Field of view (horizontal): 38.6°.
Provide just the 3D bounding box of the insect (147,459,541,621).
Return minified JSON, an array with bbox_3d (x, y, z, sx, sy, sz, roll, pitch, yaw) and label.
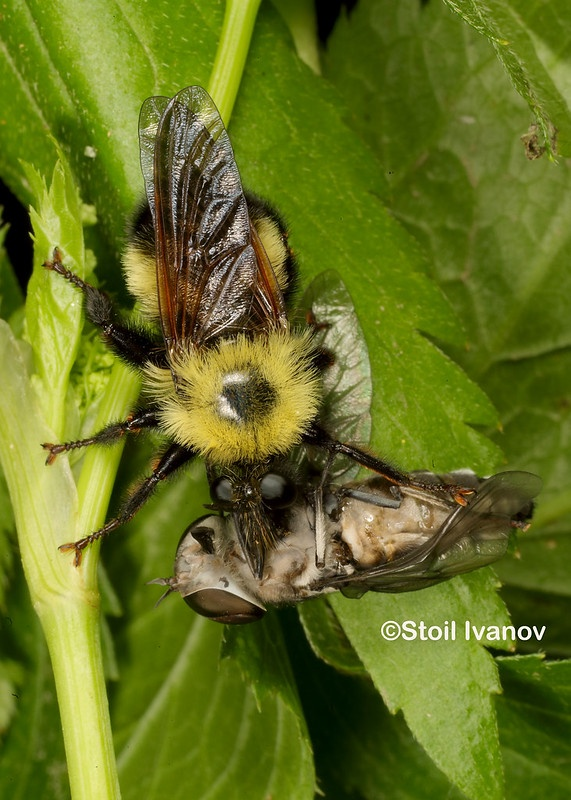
[{"bbox_3d":[0.089,0.208,1.187,0.430,0.117,0.292,-2,48,4],"label":"insect"}]
